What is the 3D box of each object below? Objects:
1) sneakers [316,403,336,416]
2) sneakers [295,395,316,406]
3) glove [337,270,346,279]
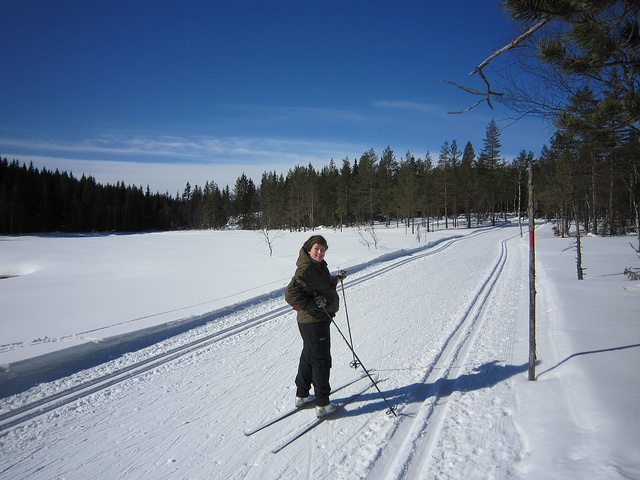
[{"bbox_3d":[0.102,2.699,6.908,0.318,0.159,0.130,-4,1,-37],"label":"sneakers"},{"bbox_3d":[-0.243,2.631,7.111,0.321,0.157,0.129,-1,1,-45],"label":"sneakers"},{"bbox_3d":[0.375,0.571,7.199,0.127,0.101,0.176,-36,-22,35],"label":"glove"}]
